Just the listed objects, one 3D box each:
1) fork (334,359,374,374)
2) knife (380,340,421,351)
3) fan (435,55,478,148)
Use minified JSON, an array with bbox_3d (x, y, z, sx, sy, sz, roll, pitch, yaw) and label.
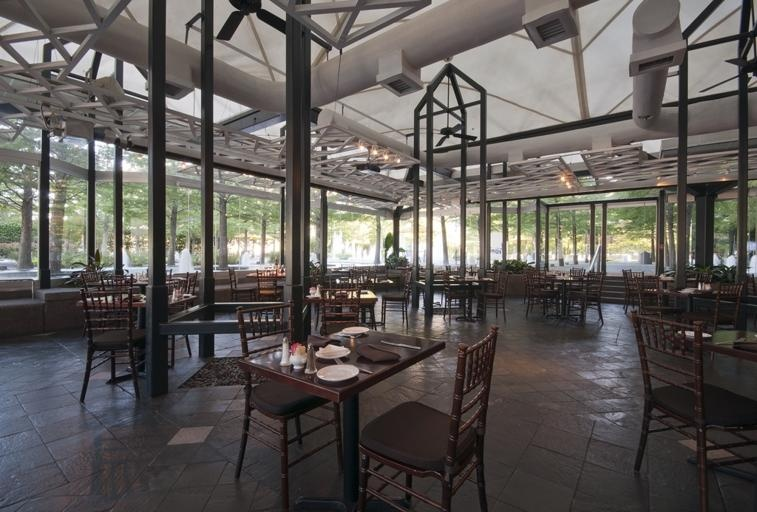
[{"bbox_3d":[-0.283,1.267,5.515,0.532,0.054,0.061,11,9,39],"label":"fork"},{"bbox_3d":[0.265,1.098,5.922,0.420,0.042,0.057,4,10,23],"label":"knife"},{"bbox_3d":[2.051,-3.820,12.523,1.124,1.757,2.357,-3,-2,9],"label":"fan"}]
